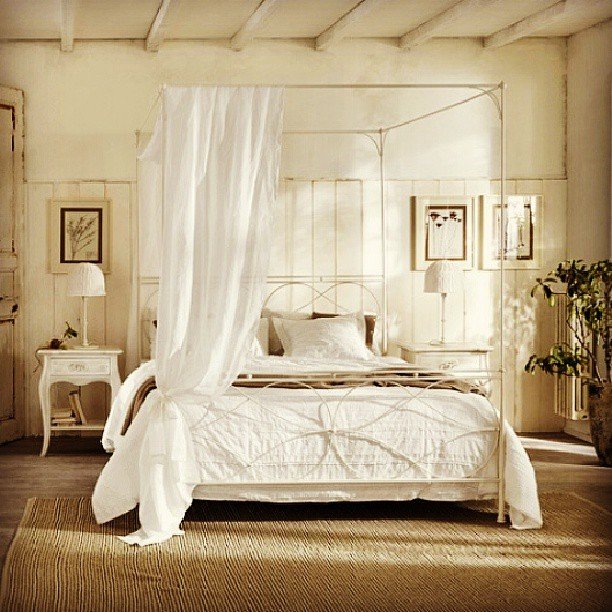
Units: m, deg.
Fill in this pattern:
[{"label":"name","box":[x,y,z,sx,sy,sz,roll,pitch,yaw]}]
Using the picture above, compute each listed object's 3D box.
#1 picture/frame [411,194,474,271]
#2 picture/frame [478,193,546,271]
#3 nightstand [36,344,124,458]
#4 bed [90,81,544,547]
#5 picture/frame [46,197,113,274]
[{"label":"picture/frame","box":[1.081,-0.600,5.597,0.518,0.721,0.052,0,1,-3]},{"label":"picture/frame","box":[1.617,-0.586,5.502,0.605,0.840,0.059,0,-1,-5]},{"label":"nightstand","box":[-1.650,0.679,5.102,0.596,0.817,0.613,4,2,2]},{"label":"bed","box":[0.018,0.071,4.180,1.619,1.785,2.286,0,-1,-3]},{"label":"picture/frame","box":[-1.777,-0.557,5.404,0.502,0.708,0.053,0,1,-8]}]
